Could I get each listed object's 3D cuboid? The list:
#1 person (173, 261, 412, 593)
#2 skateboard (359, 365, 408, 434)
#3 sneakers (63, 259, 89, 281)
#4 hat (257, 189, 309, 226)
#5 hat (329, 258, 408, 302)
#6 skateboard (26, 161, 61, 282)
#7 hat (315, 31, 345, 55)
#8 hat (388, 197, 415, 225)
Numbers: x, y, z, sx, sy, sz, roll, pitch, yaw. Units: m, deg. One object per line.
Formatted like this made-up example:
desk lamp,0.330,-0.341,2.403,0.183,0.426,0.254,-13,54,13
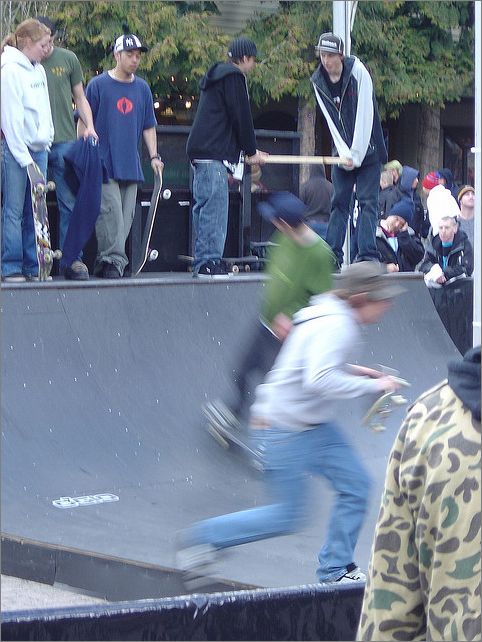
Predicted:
person,0.230,0.372,7.232,0.997,2.277,0.818,1,5,-9
skateboard,0.674,0.405,7.922,0.079,0.257,0.199,23,23,-39
sneakers,-1.005,-0.279,9.858,0.077,0.162,0.285,1,-4,-18
hat,0.188,-0.534,7.813,0.173,0.161,0.354,-1,15,-16
hat,0.525,-0.162,7.171,0.191,0.189,0.173,-1,12,3
skateboard,-1.157,-0.568,9.454,0.075,0.831,0.172,-3,2,14
hat,0.536,-1.703,10.038,0.164,0.130,0.285,4,14,2
hat,1.143,-0.791,11.732,0.165,0.181,0.206,2,12,-4
